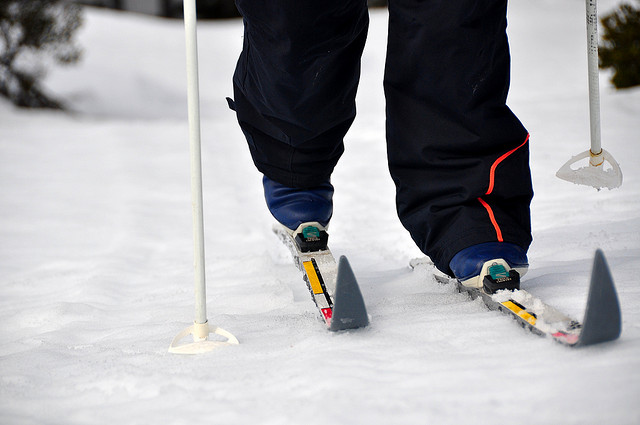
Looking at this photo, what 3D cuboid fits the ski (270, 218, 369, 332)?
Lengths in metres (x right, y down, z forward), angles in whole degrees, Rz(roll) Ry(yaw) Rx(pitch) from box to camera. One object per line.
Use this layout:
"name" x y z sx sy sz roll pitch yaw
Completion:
"ski" -0.025 0.201 3.190 0.118 0.219 0.821 -17 27 -4
